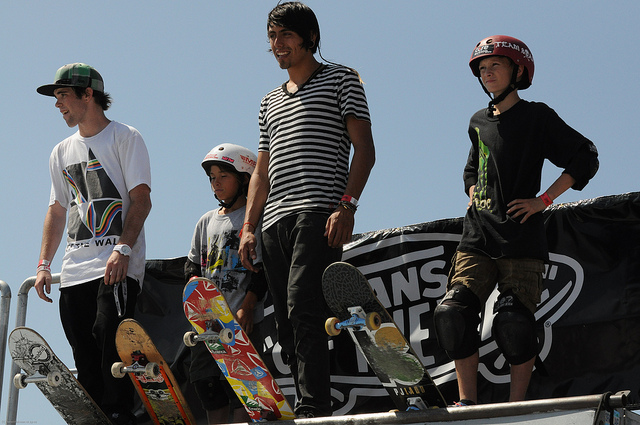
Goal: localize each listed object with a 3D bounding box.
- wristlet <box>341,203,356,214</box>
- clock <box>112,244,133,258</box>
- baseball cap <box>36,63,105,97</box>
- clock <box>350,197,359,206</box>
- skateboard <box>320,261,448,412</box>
[{"bbox_3d":[0.251,-0.045,10.373,0.141,0.015,0.018,41,-26,-4],"label":"wristlet"},{"bbox_3d":[-1.960,0.376,11.231,0.168,0.133,0.054,-3,-17,-20],"label":"clock"},{"bbox_3d":[-2.539,-1.429,11.935,0.580,0.298,0.396,-4,-5,-21],"label":"baseball cap"},{"bbox_3d":[0.318,-0.103,10.403,0.065,0.051,0.068,10,-5,-8],"label":"clock"},{"bbox_3d":[0.608,1.297,10.247,0.476,1.978,0.279,-11,-43,-26],"label":"skateboard"}]
